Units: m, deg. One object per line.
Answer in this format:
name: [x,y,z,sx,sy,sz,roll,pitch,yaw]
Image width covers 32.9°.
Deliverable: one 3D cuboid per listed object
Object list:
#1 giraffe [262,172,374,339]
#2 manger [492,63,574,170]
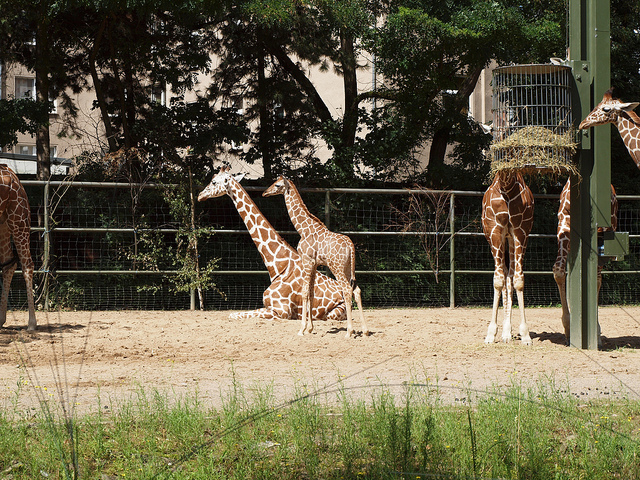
giraffe: [-0.005,0.192,15.256,0.772,1.706,1.576,-1,-2,-44]
manger: [2.938,-1.815,14.251,0.801,1.144,0.918,0,-13,8]
